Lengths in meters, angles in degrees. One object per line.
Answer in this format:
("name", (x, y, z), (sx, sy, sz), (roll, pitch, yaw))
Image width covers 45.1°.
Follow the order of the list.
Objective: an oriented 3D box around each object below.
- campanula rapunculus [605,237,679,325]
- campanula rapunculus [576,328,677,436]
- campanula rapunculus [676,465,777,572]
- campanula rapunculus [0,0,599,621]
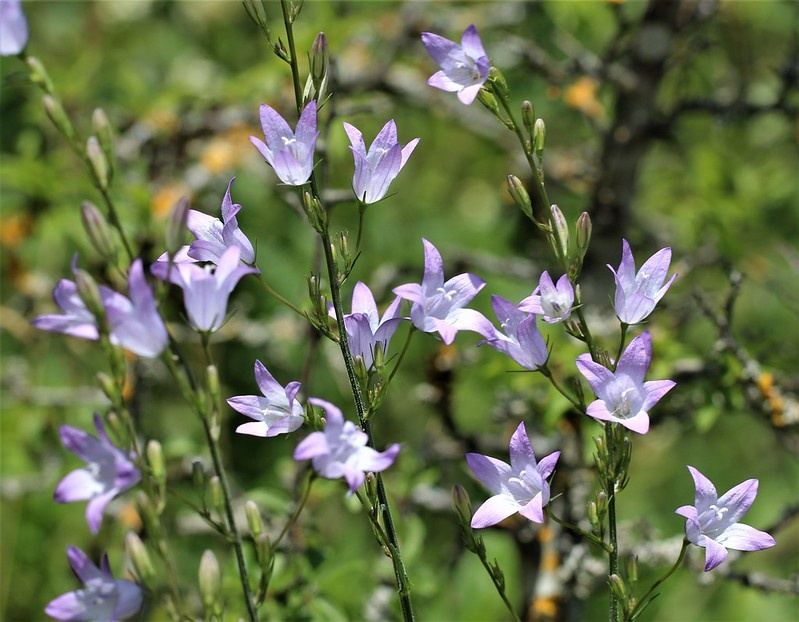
("campanula rapunculus", (0.554, -0.054, 2.274), (0.148, 0.187, 0.194), (18, 98, 21))
("campanula rapunculus", (0.515, 0.109, 2.167), (0.198, 0.237, 0.175), (-10, 98, 0))
("campanula rapunculus", (0.720, 0.436, 2.225), (0.237, 0.121, 0.236), (34, 75, -16))
("campanula rapunculus", (-0.330, 0.008, 2.939), (1.266, 0.640, 1.979), (-28, 90, -12))
